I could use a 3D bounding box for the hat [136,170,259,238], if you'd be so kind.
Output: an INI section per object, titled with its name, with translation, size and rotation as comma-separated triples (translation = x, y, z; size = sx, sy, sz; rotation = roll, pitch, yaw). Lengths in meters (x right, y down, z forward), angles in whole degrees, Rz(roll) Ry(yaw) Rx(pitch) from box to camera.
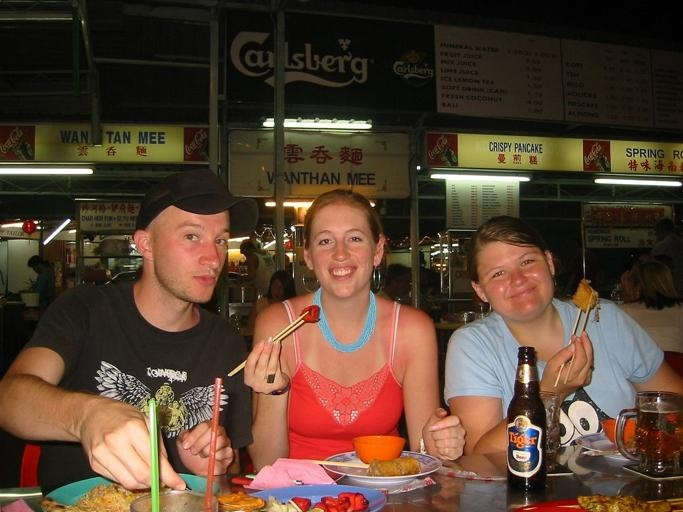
[hat]
translation = -0.890, -0.265, 4.161
size = 0.796, 0.439, 0.680
rotation = -1, -4, 6

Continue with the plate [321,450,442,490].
[plate]
translation = 0.190, 1.022, 3.292
size = 0.474, 0.140, 0.425
rotation = 0, -4, -26

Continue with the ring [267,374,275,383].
[ring]
translation = -0.398, 0.682, 3.670
size = 0.041, 0.054, 0.028
rotation = -1, 1, -14

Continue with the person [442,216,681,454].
[person]
translation = 1.362, 0.519, 4.396
size = 1.410, 1.441, 0.829
rotation = 1, -2, 16

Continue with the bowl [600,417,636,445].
[bowl]
translation = 1.448, 0.905, 3.441
size = 0.131, 0.104, 0.144
rotation = 1, -7, 0
